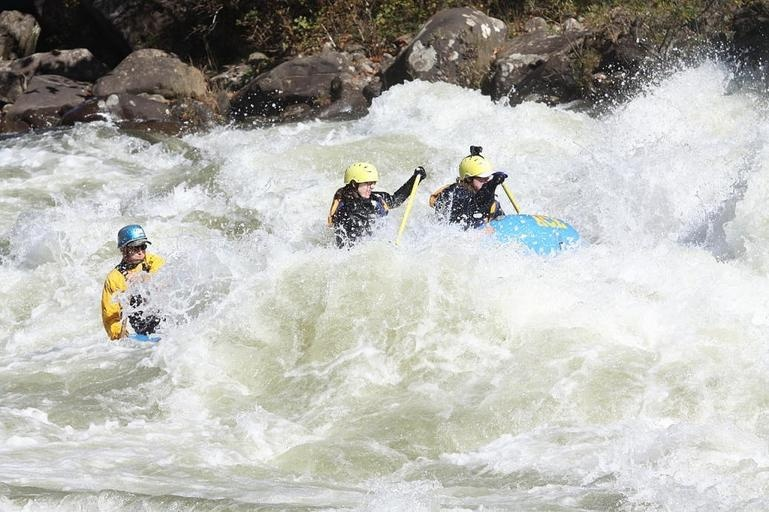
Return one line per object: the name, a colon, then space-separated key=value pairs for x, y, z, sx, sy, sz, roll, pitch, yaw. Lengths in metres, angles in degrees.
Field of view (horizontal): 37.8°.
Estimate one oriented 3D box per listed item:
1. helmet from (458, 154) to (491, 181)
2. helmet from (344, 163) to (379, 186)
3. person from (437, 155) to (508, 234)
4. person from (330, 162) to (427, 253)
helmet: x=1.366 y=-1.355 z=16.999 sx=0.470 sy=0.337 sz=0.225 roll=1 pitch=100 yaw=27
helmet: x=-0.381 y=-1.253 z=17.150 sx=0.445 sy=0.318 sz=0.242 roll=14 pitch=98 yaw=27
person: x=1.344 y=-0.903 z=17.214 sx=0.797 sy=1.201 sz=0.577 roll=-19 pitch=40 yaw=17
person: x=-0.118 y=-0.706 z=17.309 sx=0.777 sy=1.168 sz=1.763 roll=18 pitch=110 yaw=30
